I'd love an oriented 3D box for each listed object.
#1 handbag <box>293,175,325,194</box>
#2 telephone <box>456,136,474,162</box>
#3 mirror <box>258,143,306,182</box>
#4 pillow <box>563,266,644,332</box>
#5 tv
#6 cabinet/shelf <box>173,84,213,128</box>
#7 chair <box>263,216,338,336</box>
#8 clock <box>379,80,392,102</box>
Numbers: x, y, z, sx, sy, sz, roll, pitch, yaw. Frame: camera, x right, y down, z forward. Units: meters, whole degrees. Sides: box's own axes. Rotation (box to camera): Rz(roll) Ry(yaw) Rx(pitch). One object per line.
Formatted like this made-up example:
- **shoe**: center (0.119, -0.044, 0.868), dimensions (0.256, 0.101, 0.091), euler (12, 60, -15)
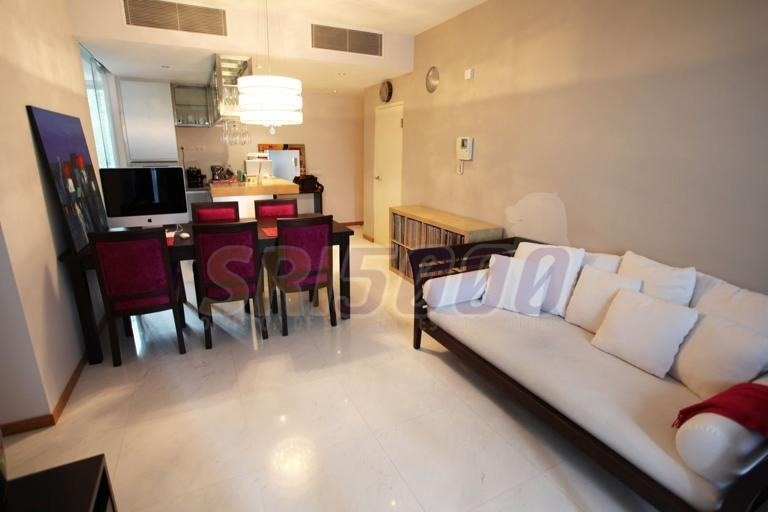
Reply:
- **handbag**: center (-1.372, -1.278, 8.508), dimensions (0.503, 0.529, 0.221), euler (5, 8, -9)
- **telephone**: center (0.946, -1.259, 5.605), dimensions (0.081, 0.271, 0.231), euler (-10, 17, -30)
- **mirror**: center (-1.854, -1.682, 8.502), dimensions (0.871, 0.882, 0.064), euler (-3, 6, -19)
- **pillow**: center (1.851, 0.413, 4.049), dimensions (0.159, 0.512, 0.542), euler (15, 9, -29)
- **tv**: center (-2.482, -0.583, 4.912), dimensions (0.631, 0.583, 0.225), euler (-8, 17, -26)
- **cabinet/shelf**: center (-3.162, -2.496, 7.829), dimensions (0.583, 0.603, 0.192), euler (-15, 24, -42)
- **chair**: center (-0.863, 0.213, 4.872), dimensions (0.802, 1.463, 0.841), euler (-5, 33, -17)
- **clock**: center (0.026, -2.466, 7.153), dimensions (0.064, 0.324, 0.411), euler (-7, 15, -19)
